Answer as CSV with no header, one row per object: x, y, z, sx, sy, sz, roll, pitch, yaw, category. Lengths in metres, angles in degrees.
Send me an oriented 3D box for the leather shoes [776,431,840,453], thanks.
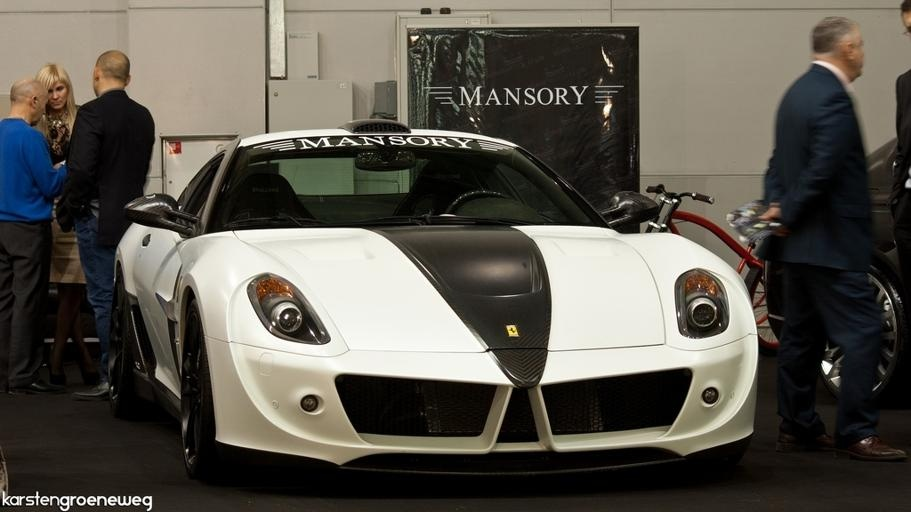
2.638,1.414,6.737,0.410,0.208,0.164,-3,4,-8,leather shoes

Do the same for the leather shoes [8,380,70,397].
-4.118,1.323,8.882,0.513,0.161,0.193,-2,0,-8,leather shoes

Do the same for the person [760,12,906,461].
2.715,-0.151,6.619,0.887,3.235,0.482,1,3,19,person

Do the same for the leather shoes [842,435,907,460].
2.993,1.395,6.454,0.421,0.198,0.173,-4,-3,19,leather shoes
